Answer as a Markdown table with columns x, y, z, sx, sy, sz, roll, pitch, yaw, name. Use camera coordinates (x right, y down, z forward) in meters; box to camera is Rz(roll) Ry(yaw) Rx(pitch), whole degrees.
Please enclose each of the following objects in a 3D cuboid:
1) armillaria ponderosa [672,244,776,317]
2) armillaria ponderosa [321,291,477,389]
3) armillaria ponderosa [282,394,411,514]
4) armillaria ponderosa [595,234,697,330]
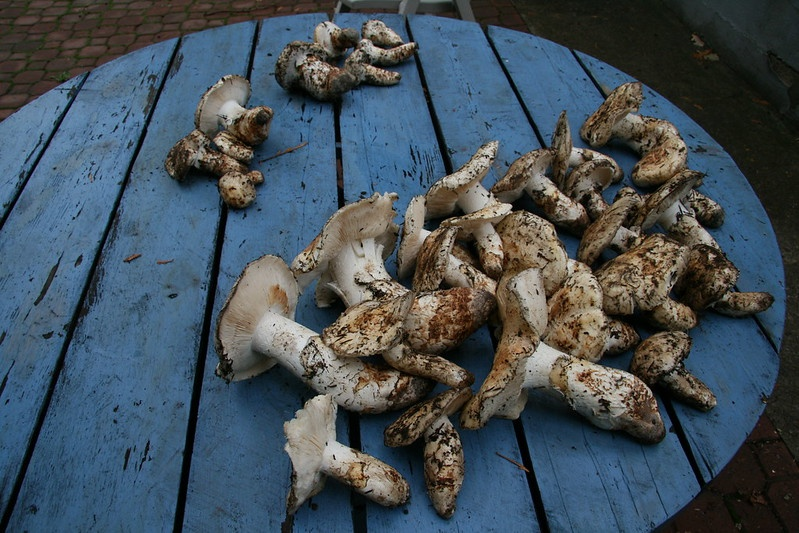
| x | y | z | sx | sy | sz | roll | pitch | yaw | name |
| --- | --- | --- | --- | --- | --- | --- | --- | --- | --- |
| 2.154 | 0.170 | 4.108 | 0.525 | 0.262 | 0.445 | 26 | 88 | -1 | armillaria ponderosa |
| -0.003 | 0.387 | 3.771 | 0.908 | 0.239 | 0.454 | 14 | 78 | 4 | armillaria ponderosa |
| -0.305 | 1.036 | 3.578 | 0.662 | 0.250 | 0.613 | -2 | 77 | 1 | armillaria ponderosa |
| 1.611 | 0.198 | 4.115 | 0.563 | 0.239 | 0.564 | -25 | 53 | -16 | armillaria ponderosa |
